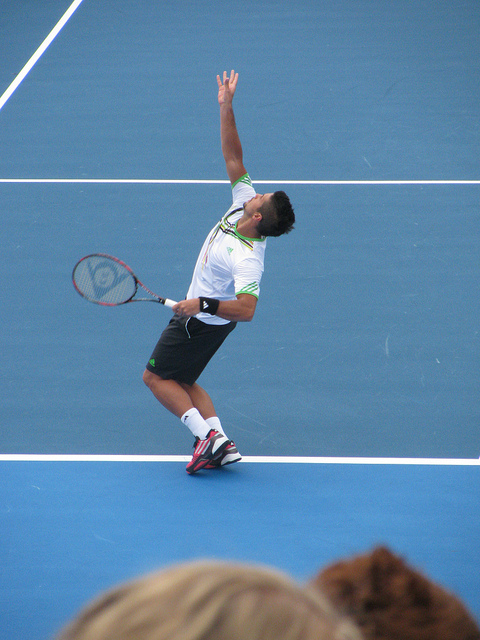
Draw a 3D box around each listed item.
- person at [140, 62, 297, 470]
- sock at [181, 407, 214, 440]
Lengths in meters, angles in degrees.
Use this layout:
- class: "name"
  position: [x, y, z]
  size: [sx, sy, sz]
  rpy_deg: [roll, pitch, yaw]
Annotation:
- class: "person"
  position: [-0.129, -0.268, 6.132]
  size: [0.886, 2.277, 1.344]
  rpy_deg: [-2, 22, 1]
- class: "sock"
  position: [-0.237, 0.589, 5.972]
  size: [0.072, 0.099, 0.230]
  rpy_deg: [-36, 75, -27]
